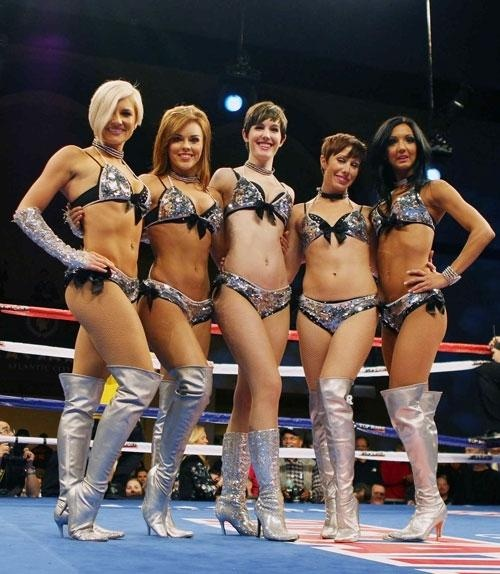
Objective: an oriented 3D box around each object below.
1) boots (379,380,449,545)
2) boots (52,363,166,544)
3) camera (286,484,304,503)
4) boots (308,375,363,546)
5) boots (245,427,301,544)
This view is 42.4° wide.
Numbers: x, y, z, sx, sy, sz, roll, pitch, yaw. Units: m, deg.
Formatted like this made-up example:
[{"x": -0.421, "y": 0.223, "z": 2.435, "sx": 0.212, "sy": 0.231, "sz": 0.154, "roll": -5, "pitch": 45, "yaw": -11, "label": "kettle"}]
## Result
[{"x": 0.823, "y": 0.869, "z": 3.247, "sx": 0.329, "sy": 0.752, "sz": 0.227, "roll": 5, "pitch": -17, "yaw": -3, "label": "boots"}, {"x": -0.664, "y": 0.715, "z": 2.827, "sx": 0.507, "sy": 0.723, "sz": 0.286, "roll": -11, "pitch": -22, "yaw": 43, "label": "boots"}, {"x": 0.415, "y": 1.953, "z": 6.104, "sx": 0.259, "sy": 0.188, "sz": 0.140, "roll": 1, "pitch": -15, "yaw": -1, "label": "camera"}, {"x": 0.412, "y": 0.851, "z": 3.225, "sx": 0.267, "sy": 0.758, "sz": 0.417, "roll": 2, "pitch": -16, "yaw": 8, "label": "boots"}, {"x": 0.089, "y": 0.923, "z": 3.053, "sx": 0.191, "sy": 0.497, "sz": 0.263, "roll": 16, "pitch": -20, "yaw": -35, "label": "boots"}]
